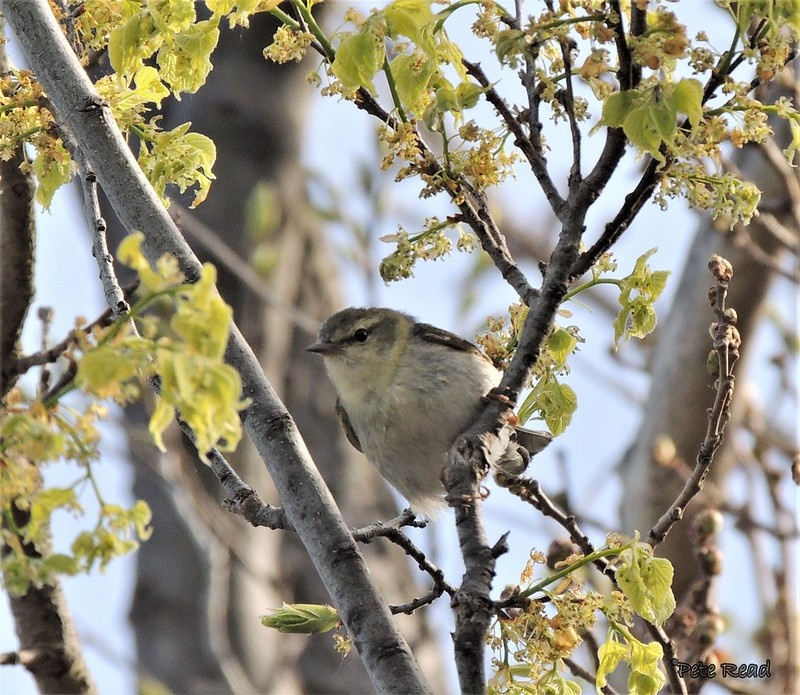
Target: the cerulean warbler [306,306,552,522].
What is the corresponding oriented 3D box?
[{"bbox_3d":[0.051,0.183,6.903,0.958,1.137,0.476,-20,-50,25],"label":"cerulean warbler"}]
